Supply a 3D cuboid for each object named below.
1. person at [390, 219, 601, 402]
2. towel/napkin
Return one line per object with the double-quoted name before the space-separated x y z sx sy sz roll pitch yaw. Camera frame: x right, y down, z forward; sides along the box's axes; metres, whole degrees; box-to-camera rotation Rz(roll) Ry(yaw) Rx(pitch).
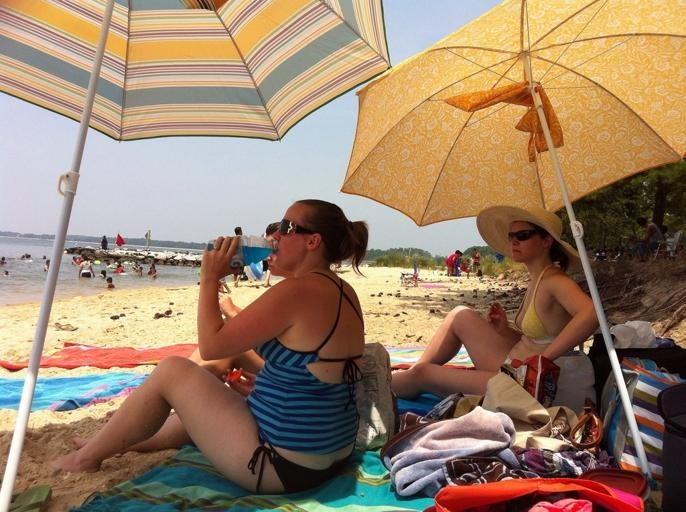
"person" 1.323 0.491 3.752 1.625 1.687 0.963 -1 -5 36
"towel/napkin" 0.644 1.235 2.761 0.625 0.199 0.623 -14 2 -25
